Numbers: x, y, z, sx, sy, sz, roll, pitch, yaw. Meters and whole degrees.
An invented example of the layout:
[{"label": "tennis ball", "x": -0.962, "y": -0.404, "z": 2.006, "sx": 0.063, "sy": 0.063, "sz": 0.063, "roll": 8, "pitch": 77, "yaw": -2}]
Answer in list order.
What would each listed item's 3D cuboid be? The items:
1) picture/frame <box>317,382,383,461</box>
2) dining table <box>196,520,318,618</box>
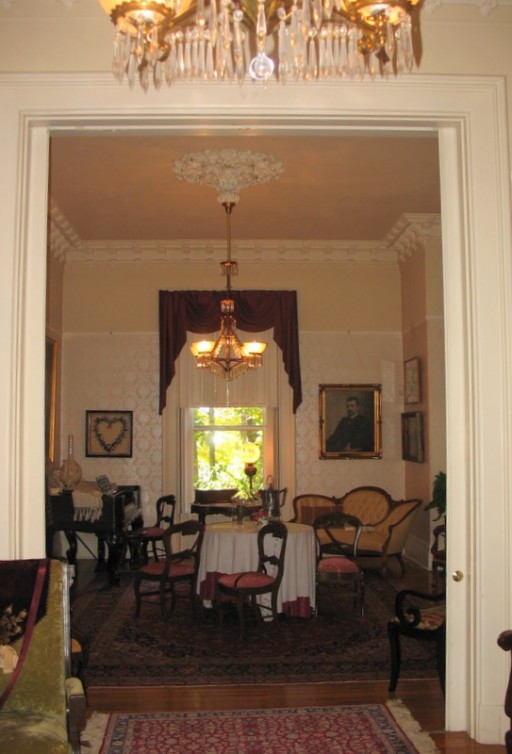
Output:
[{"label": "picture/frame", "x": 1.302, "y": 0.667, "z": 9.557, "sx": 1.002, "sy": 1.226, "sz": 0.091, "roll": 0, "pitch": -6, "yaw": 0}, {"label": "dining table", "x": 0.065, "y": 1.688, "z": 6.508, "sx": 0.916, "sy": 0.627, "sz": 0.883, "roll": 0, "pitch": -7, "yaw": 2}]
